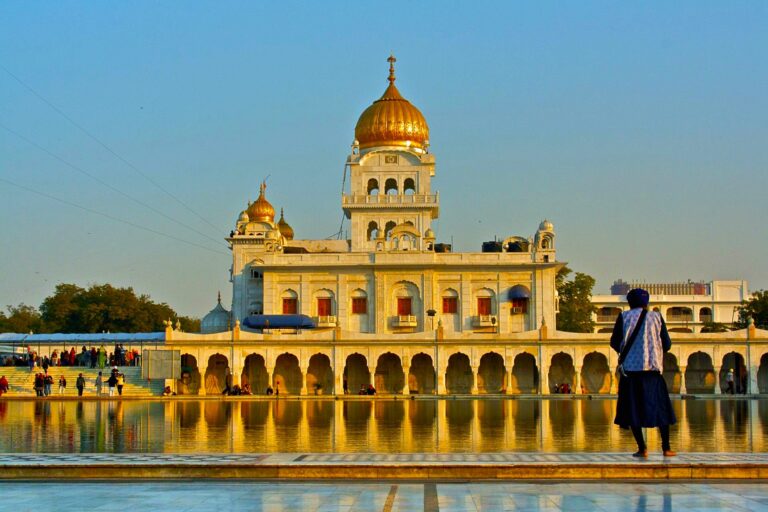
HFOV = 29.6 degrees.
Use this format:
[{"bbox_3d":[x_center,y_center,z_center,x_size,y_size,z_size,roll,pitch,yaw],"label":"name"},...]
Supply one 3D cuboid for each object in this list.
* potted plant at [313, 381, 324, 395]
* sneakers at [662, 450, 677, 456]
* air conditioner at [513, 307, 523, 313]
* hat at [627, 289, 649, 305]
[{"bbox_3d":[-3.584,7.349,80.457,0.624,0.586,0.446,0,-13,-4],"label":"potted plant"},{"bbox_3d":[9.451,6.514,48.126,0.335,0.188,0.193,-4,4,-16],"label":"sneakers"},{"bbox_3d":[7.868,3.233,85.522,0.443,0.259,0.394,0,-4,-6],"label":"air conditioner"},{"bbox_3d":[8.387,1.392,47.984,0.570,0.561,0.669,2,4,-1],"label":"hat"}]
